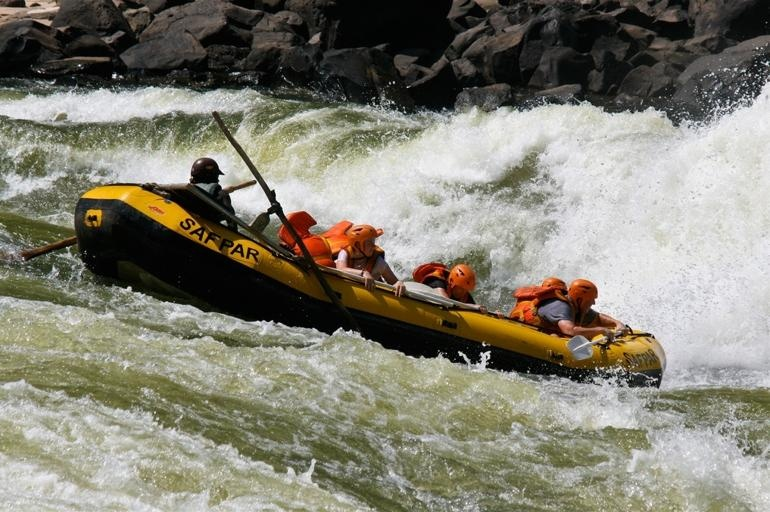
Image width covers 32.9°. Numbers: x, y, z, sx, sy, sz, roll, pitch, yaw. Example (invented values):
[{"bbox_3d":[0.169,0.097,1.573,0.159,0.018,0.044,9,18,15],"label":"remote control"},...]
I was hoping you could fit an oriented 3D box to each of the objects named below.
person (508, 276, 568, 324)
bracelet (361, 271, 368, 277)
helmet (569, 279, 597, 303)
[{"bbox_3d":[3.685,1.001,31.383,1.200,0.949,1.347,-20,-6,-34],"label":"person"},{"bbox_3d":[-0.437,0.395,30.620,0.121,0.111,0.039,-3,-25,10],"label":"bracelet"},{"bbox_3d":[4.736,0.792,31.447,0.619,0.466,0.431,-15,10,3],"label":"helmet"}]
